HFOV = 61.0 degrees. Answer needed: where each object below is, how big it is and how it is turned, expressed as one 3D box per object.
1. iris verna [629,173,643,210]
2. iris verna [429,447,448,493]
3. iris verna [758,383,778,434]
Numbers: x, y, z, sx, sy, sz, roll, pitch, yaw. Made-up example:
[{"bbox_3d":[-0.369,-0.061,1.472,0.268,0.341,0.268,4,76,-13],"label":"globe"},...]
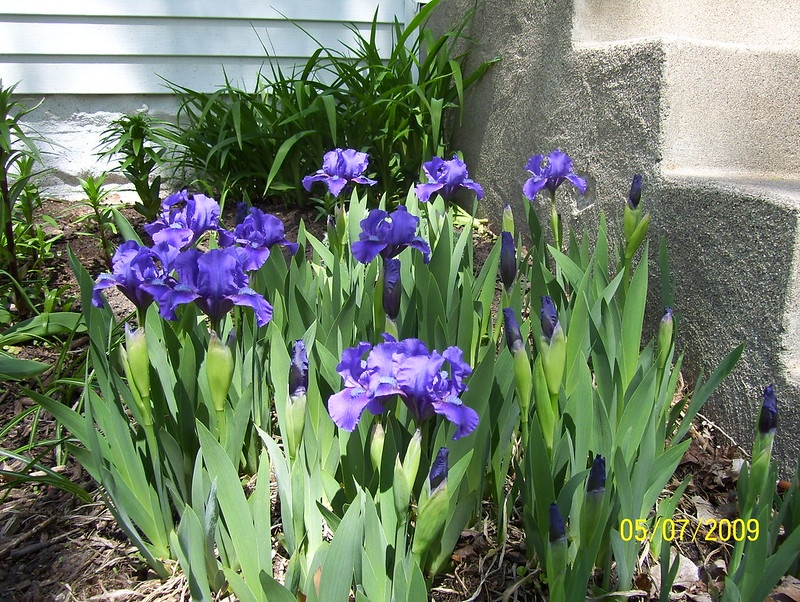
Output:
[{"bbox_3d":[0.907,-0.418,2.600,0.053,0.064,0.190,6,-27,19],"label":"iris verna"},{"bbox_3d":[0.101,0.451,1.822,0.049,0.133,0.028,4,14,2],"label":"iris verna"},{"bbox_3d":[1.116,0.320,2.045,0.046,0.144,0.092,12,17,31],"label":"iris verna"}]
